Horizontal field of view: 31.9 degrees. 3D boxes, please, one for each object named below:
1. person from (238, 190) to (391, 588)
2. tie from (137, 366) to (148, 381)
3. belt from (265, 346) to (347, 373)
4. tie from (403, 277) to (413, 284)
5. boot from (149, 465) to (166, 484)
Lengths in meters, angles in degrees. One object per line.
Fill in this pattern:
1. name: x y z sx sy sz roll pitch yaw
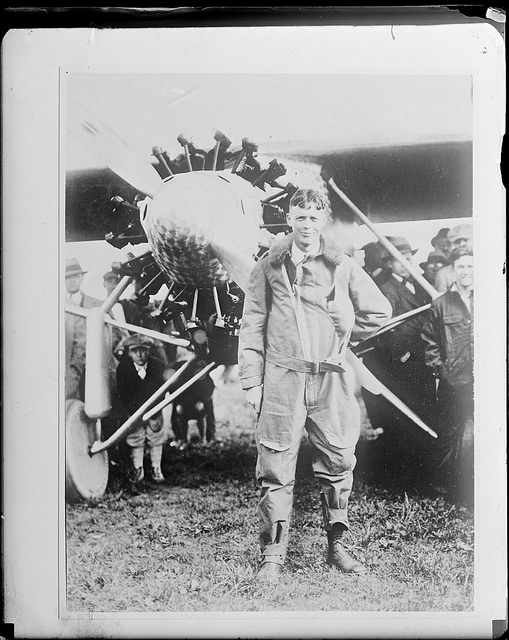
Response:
1. person: 0.226 0.275 3.644 0.607 1.307 0.175 3 1 8
2. tie: -0.466 0.215 3.654 0.038 0.049 0.011 -7 0 2
3. belt: 0.204 0.168 3.642 0.335 0.082 0.016 3 1 0
4. tie: 0.639 -0.160 3.684 0.027 0.026 0.007 6 7 1
5. boot: -0.405 0.629 3.623 0.047 0.079 0.078 4 -4 -42
